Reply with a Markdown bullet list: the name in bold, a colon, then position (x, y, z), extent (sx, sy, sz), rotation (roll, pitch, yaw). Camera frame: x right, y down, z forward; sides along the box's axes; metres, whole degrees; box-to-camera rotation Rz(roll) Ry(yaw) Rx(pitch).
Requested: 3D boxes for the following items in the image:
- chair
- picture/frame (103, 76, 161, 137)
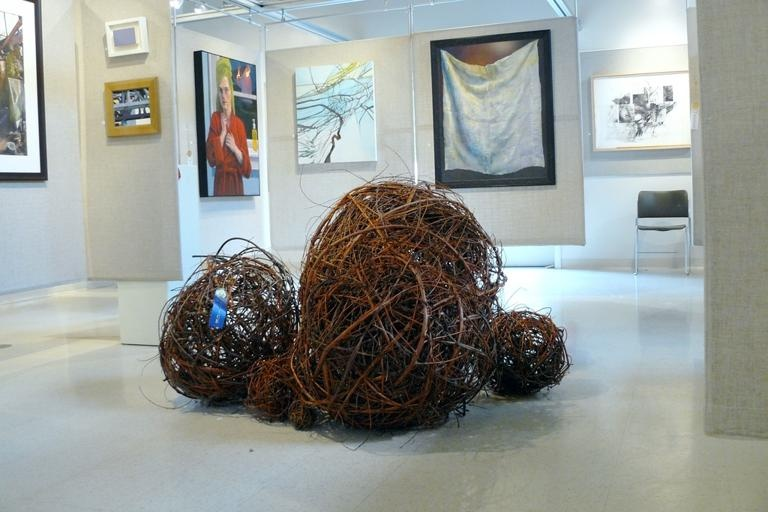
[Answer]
- **chair**: position (4.053, -0.380, 8.118), extent (0.746, 1.156, 0.908), rotation (3, 9, 29)
- **picture/frame**: position (-2.225, -1.355, 4.980), extent (0.537, 0.554, 0.039), rotation (1, 6, 15)
